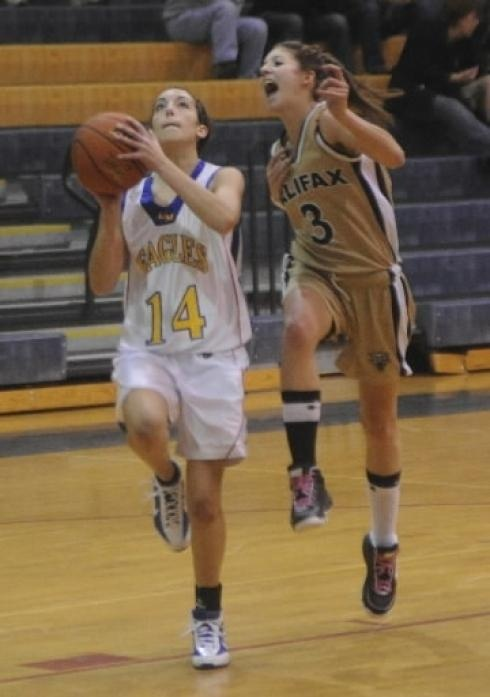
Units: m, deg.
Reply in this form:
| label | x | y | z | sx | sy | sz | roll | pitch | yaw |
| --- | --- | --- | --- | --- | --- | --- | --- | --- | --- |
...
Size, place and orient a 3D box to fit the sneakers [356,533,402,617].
| label | x | y | z | sx | sy | sz | roll | pitch | yaw |
| --- | --- | --- | --- | --- | --- | --- | --- | --- | --- |
| sneakers | 0.396 | 0.673 | 3.141 | 0.074 | 0.205 | 0.088 | 3 | -34 | -2 |

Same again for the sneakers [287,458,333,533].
| label | x | y | z | sx | sy | sz | roll | pitch | yaw |
| --- | --- | --- | --- | --- | --- | --- | --- | --- | --- |
| sneakers | 0.163 | 0.398 | 2.840 | 0.092 | 0.149 | 0.131 | 0 | 9 | 2 |

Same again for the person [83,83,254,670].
| label | x | y | z | sx | sy | sz | roll | pitch | yaw |
| --- | --- | --- | --- | --- | --- | --- | --- | --- | --- |
| person | -0.167 | 0.045 | 2.810 | 0.430 | 1.460 | 0.629 | -3 | 9 | -13 |

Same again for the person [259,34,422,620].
| label | x | y | z | sx | sy | sz | roll | pitch | yaw |
| --- | --- | --- | --- | --- | --- | --- | --- | --- | --- |
| person | 0.254 | -0.075 | 3.090 | 0.447 | 1.623 | 0.736 | 1 | 9 | 8 |

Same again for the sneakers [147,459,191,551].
| label | x | y | z | sx | sy | sz | roll | pitch | yaw |
| --- | --- | --- | --- | --- | --- | --- | --- | --- | --- |
| sneakers | -0.196 | 0.430 | 2.854 | 0.099 | 0.245 | 0.109 | -10 | 15 | -1 |

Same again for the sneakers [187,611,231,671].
| label | x | y | z | sx | sy | sz | roll | pitch | yaw |
| --- | --- | --- | --- | --- | --- | --- | --- | --- | --- |
| sneakers | -0.092 | 0.737 | 2.692 | 0.092 | 0.099 | 0.246 | -2 | -8 | -2 |

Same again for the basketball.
| label | x | y | z | sx | sy | sz | roll | pitch | yaw |
| --- | --- | --- | --- | --- | --- | --- | --- | --- | --- |
| basketball | -0.361 | -0.502 | 2.816 | 0.210 | 0.230 | 0.199 | -10 | -11 | -11 |
